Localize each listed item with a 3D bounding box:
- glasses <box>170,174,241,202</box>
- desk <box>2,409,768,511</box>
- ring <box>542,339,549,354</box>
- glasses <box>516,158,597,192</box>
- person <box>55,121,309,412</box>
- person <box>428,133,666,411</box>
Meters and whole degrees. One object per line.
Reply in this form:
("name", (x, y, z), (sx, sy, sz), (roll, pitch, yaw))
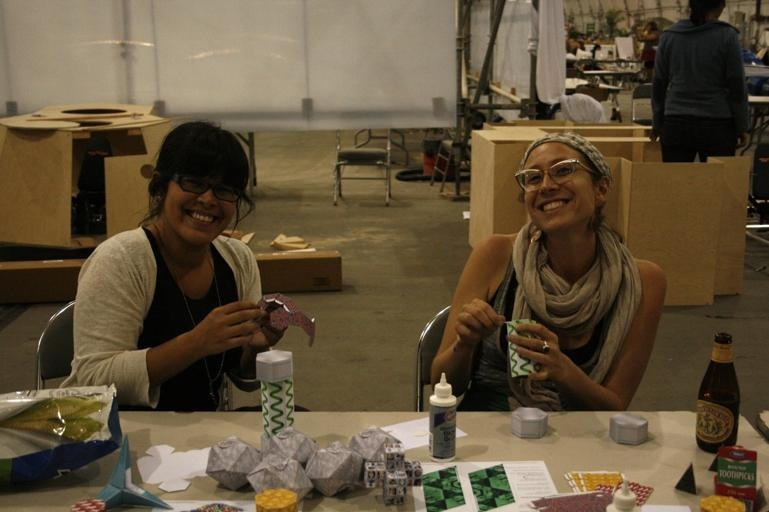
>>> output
("glasses", (-0.747, -0.278, 2.833), (0.250, 0.125, 0.059), (-7, 11, -18))
("desk", (0.109, 0.719, 2.461), (2.618, 0.237, 0.550), (-4, 11, -2))
("ring", (0.619, 0.352, 2.632), (0.023, 0.041, 0.030), (-8, -35, 6))
("glasses", (0.754, -0.363, 3.024), (0.335, 0.135, 0.127), (-1, 11, 11))
("person", (-0.918, 0.133, 2.877), (0.899, 1.371, 0.648), (-5, 11, -9))
("person", (0.681, 0.116, 2.956), (0.817, 1.259, 0.873), (5, 14, 38))
